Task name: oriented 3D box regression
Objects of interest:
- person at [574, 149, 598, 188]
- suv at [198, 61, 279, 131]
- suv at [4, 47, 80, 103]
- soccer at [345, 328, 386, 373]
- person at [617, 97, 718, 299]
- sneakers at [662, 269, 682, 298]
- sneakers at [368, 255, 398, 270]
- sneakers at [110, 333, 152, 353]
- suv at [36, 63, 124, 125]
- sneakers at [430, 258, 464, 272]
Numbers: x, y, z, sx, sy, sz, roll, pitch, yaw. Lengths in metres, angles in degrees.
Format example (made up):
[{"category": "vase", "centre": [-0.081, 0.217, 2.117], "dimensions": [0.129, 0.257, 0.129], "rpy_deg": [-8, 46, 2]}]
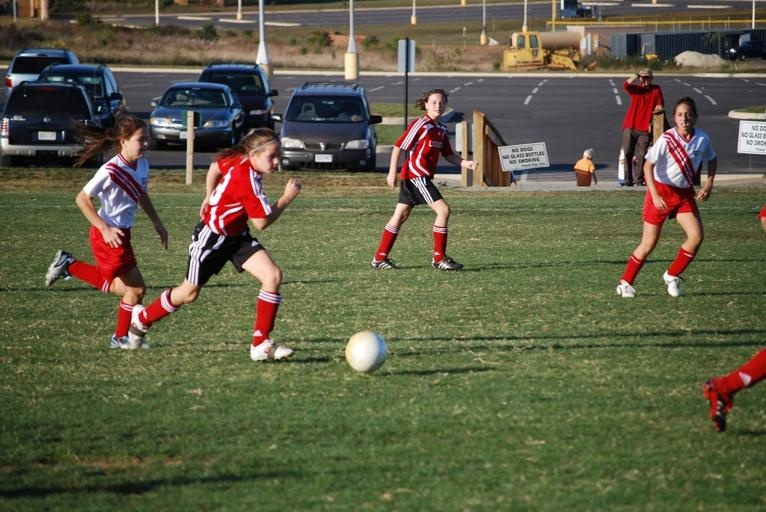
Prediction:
[{"category": "person", "centre": [4.585, -1.813, 29.299], "dimensions": [0.501, 1.142, 0.348], "rpy_deg": [16, 22, 35]}, {"category": "suv", "centre": [-3.949, -4.652, 37.296], "dimensions": [1.806, 1.362, 3.323], "rpy_deg": [0, 9, 2]}, {"category": "suv", "centre": [-10.789, -5.682, 40.828], "dimensions": [1.634, 1.309, 3.374], "rpy_deg": [0, 17, -2]}, {"category": "soccer", "centre": [-0.225, 1.325, 17.300], "dimensions": [0.543, 0.598, 0.319], "rpy_deg": [-2, 14, -4]}, {"category": "person", "centre": [4.334, -0.865, 19.474], "dimensions": [1.505, 3.045, 0.674], "rpy_deg": [-4, 14, -12]}, {"category": "sneakers", "centre": [4.484, 0.464, 19.846], "dimensions": [0.187, 0.228, 0.512], "rpy_deg": [-2, 54, -24]}, {"category": "sneakers", "centre": [0.003, 0.121, 21.354], "dimensions": [0.432, 0.200, 0.190], "rpy_deg": [1, 10, 5]}, {"category": "sneakers", "centre": [-3.515, 1.239, 18.013], "dimensions": [0.575, 0.233, 0.208], "rpy_deg": [1, 3, 1]}, {"category": "suv", "centre": [-7.782, -4.079, 34.031], "dimensions": [1.561, 1.304, 2.866], "rpy_deg": [1, 18, -2]}, {"category": "sneakers", "centre": [1.076, 0.148, 21.194], "dimensions": [0.381, 0.177, 0.231], "rpy_deg": [-2, 2, 12]}]
